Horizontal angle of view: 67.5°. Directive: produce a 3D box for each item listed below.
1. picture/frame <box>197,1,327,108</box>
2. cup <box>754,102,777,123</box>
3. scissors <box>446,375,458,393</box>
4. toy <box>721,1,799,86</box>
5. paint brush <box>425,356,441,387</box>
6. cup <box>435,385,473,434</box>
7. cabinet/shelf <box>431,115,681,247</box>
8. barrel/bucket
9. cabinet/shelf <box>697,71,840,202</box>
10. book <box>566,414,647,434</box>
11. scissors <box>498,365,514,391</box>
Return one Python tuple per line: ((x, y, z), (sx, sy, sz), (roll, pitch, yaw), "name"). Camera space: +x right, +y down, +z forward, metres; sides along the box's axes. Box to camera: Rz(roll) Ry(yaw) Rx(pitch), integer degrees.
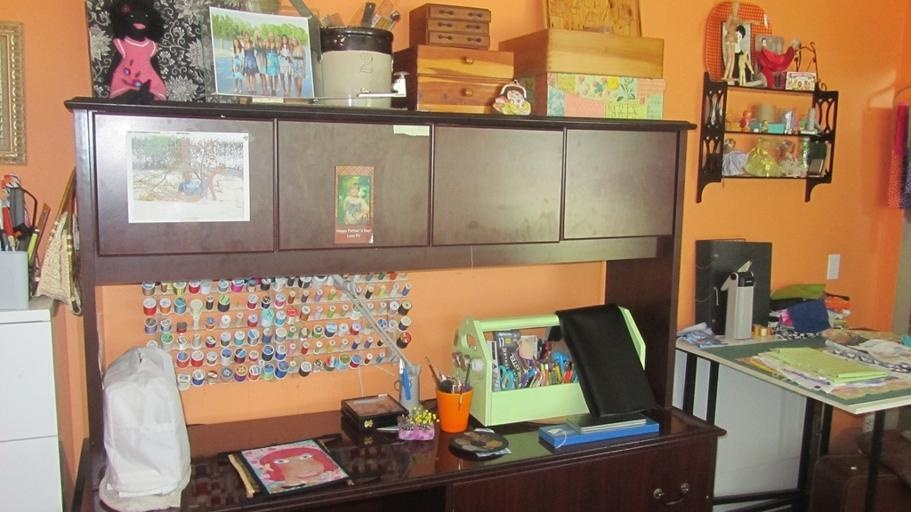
((-0.876, -0.874, 2.976), (0.590, 0.404, 0.028), (1, -5, -14), "picture/frame")
((1.839, -0.846, 4.043), (0.113, 0.109, 0.127), (8, 14, 39), "cup")
((-0.015, 0.622, 3.277), (0.061, 0.052, 0.057), (0, -2, -13), "scissors")
((1.780, -1.228, 4.010), (0.509, 0.481, 0.154), (-8, 10, -23), "toy")
((-0.115, 0.592, 3.479), (0.037, 0.118, 0.118), (-33, -7, -3), "paint brush")
((-0.009, 0.751, 3.345), (0.199, 0.161, 0.212), (0, 1, 0), "cup")
((0.415, -0.319, 3.455), (1.548, 0.645, 0.422), (-5, 9, -32), "cabinet/shelf")
((-0.404, -0.860, 3.224), (0.390, 0.366, 0.368), (1, 5, 0), "barrel/bucket")
((1.849, -0.727, 4.085), (0.936, 0.784, 0.278), (0, 5, -18), "cabinet/shelf")
((0.733, 0.806, 3.297), (0.208, 0.025, 0.141), (-1, 4, -14), "book")
((0.249, 0.598, 3.343), (0.088, 0.113, 0.116), (2, 2, -14), "scissors")
